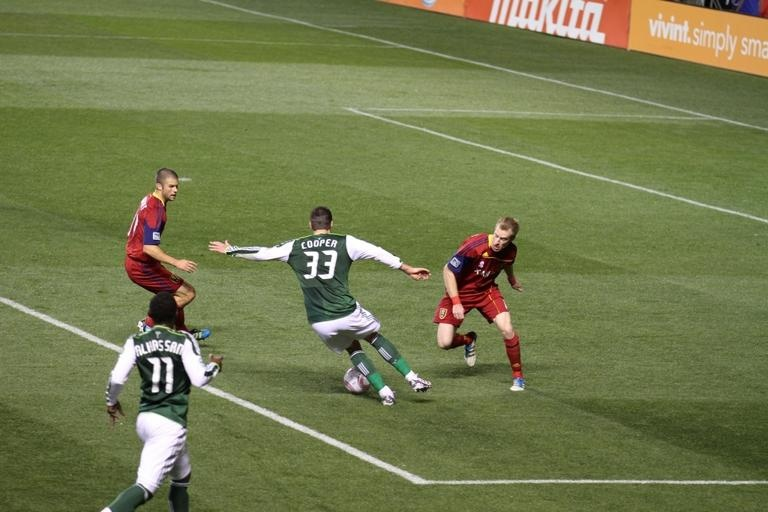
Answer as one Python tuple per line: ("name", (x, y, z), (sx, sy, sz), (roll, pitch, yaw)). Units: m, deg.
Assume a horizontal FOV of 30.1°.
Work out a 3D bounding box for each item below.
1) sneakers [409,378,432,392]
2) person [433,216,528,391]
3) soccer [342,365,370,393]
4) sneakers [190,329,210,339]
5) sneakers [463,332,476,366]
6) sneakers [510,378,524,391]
("sneakers", (0.530, 1.888, 21.460), (0.299, 0.268, 0.296), (9, 10, 3))
("person", (1.616, 0.606, 22.314), (1.495, 2.604, 0.959), (10, 11, 1))
("soccer", (-0.427, 1.850, 21.738), (0.416, 0.370, 0.429), (-3, -1, 1))
("sneakers", (-2.873, 1.182, 22.544), (0.384, 0.110, 0.153), (-3, -7, 6))
("sneakers", (1.321, 1.426, 22.576), (0.212, 0.494, 0.269), (-2, -11, 32))
("sneakers", (2.082, 1.918, 22.136), (0.220, 0.212, 0.244), (9, 10, 5))
